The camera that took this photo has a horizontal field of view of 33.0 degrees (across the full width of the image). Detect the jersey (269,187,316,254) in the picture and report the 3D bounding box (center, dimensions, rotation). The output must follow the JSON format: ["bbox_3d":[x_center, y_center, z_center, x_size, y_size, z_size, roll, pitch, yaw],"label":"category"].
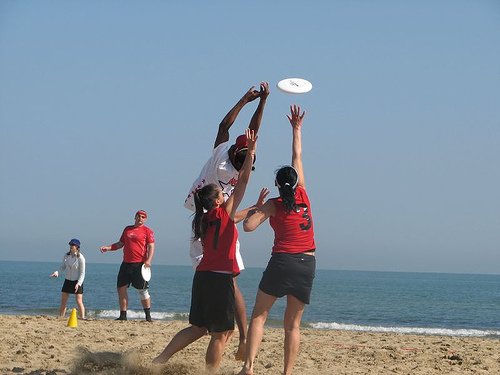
[{"bbox_3d":[1.196,1.093,24.586,1.513,2.309,1.167,-4,2,-8],"label":"jersey"}]

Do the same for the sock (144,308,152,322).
[{"bbox_3d":[-3.619,4.582,30.268,0.303,0.436,0.836,4,-6,-6],"label":"sock"}]

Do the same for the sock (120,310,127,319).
[{"bbox_3d":[-4.472,4.558,30.082,0.215,0.313,0.209,4,-5,-12],"label":"sock"}]

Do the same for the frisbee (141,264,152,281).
[{"bbox_3d":[-3.671,3.101,30.329,0.222,0.585,0.572,2,-6,17],"label":"frisbee"}]

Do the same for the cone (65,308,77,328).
[{"bbox_3d":[-5.968,4.446,28.550,0.339,0.606,0.701,4,-5,-11],"label":"cone"}]

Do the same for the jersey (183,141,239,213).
[{"bbox_3d":[-1.046,-0.297,25.908,1.472,2.184,0.730,3,-5,4],"label":"jersey"}]

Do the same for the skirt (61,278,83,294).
[{"bbox_3d":[-6.403,3.682,30.758,0.764,0.827,0.445,5,-9,0],"label":"skirt"}]
